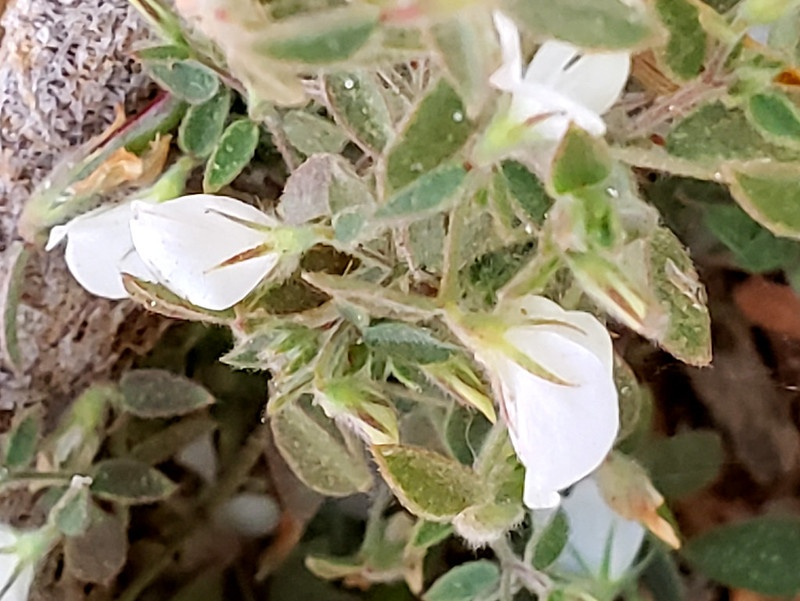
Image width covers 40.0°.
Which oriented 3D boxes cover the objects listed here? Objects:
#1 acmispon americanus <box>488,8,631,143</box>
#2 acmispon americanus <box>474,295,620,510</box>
[{"bbox_3d":[0.088,-0.131,0.680,0.065,0.081,0.081,-4,42,-16],"label":"acmispon americanus"},{"bbox_3d":[0.089,0.058,0.652,0.084,0.027,0.125,-11,70,8],"label":"acmispon americanus"}]
